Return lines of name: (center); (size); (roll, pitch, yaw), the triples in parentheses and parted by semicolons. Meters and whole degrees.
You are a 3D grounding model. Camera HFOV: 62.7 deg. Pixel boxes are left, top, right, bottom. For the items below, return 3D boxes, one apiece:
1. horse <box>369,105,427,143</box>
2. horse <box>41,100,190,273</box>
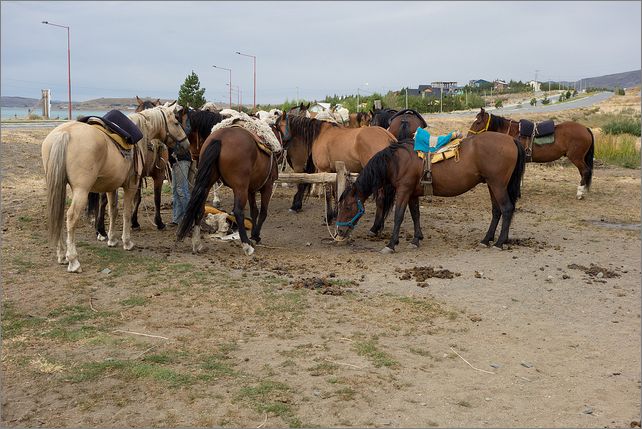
horse: (1.898, -2.327, 14.203); (0.535, 0.948, 1.834); (-16, 18, -37)
horse: (-3.765, -0.675, 9.681); (0.959, 2.753, 3.313); (4, 11, 19)
